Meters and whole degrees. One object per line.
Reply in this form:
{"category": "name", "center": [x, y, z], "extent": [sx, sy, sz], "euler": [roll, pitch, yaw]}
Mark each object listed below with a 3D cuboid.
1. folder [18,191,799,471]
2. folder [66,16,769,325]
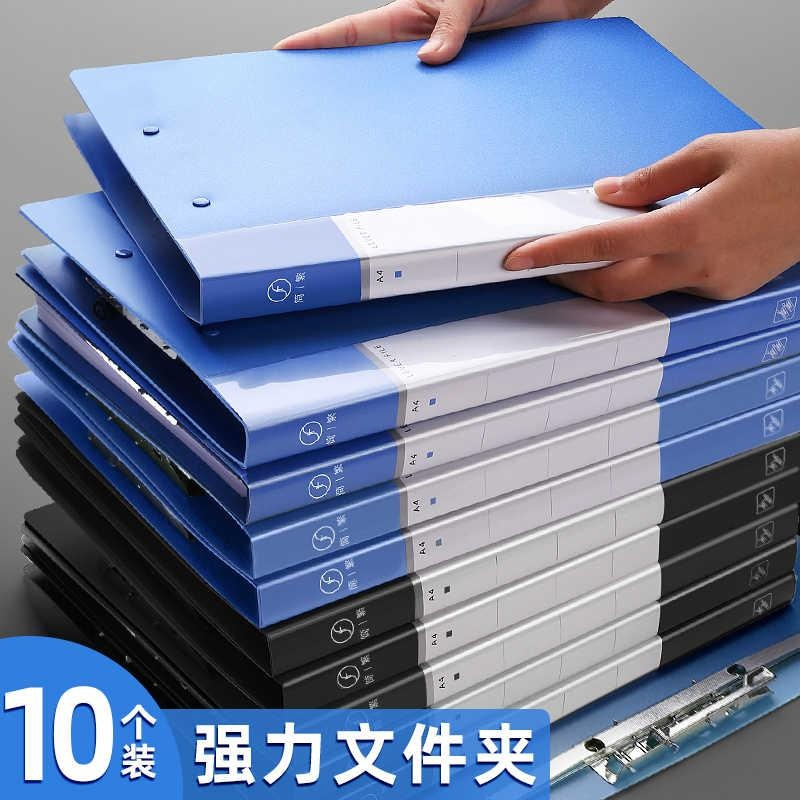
{"category": "folder", "center": [0.027, -0.031, 0.501], "extent": [0.345, 0.029, 0.204], "euler": [-9, 37, -25]}
{"category": "folder", "center": [0.020, -0.140, 0.628], "extent": [0.456, 0.059, 0.265], "euler": [-9, 41, -21]}
